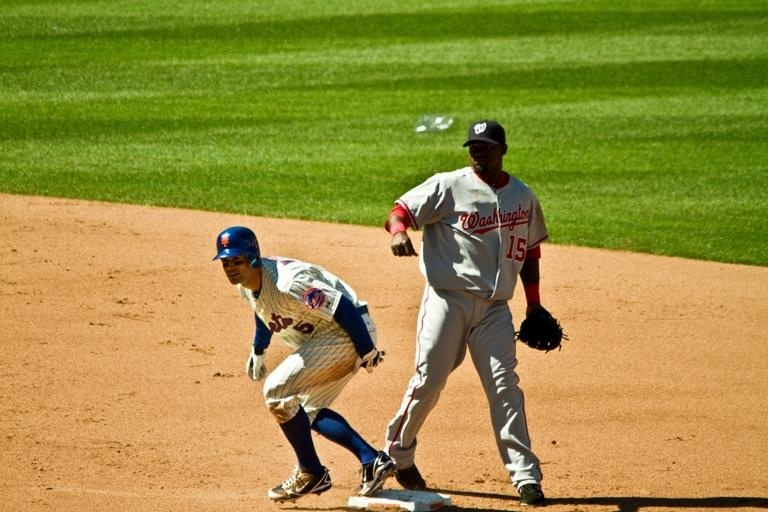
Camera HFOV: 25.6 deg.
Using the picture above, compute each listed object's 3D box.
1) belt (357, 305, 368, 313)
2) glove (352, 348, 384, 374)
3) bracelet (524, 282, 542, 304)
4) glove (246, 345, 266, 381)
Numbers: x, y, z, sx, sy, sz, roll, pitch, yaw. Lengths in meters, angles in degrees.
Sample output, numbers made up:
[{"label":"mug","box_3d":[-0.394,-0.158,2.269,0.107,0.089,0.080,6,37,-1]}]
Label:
[{"label":"belt","box_3d":[-0.211,0.698,22.418,0.105,0.101,0.032,-1,-10,-8]},{"label":"glove","box_3d":[-0.098,1.364,22.480,0.295,0.157,0.378,47,39,14]},{"label":"bracelet","box_3d":[2.057,0.512,22.989,0.245,0.262,0.252,-1,-7,3]},{"label":"glove","box_3d":[-1.658,1.449,22.796,0.251,0.417,0.154,-19,31,-36]}]
